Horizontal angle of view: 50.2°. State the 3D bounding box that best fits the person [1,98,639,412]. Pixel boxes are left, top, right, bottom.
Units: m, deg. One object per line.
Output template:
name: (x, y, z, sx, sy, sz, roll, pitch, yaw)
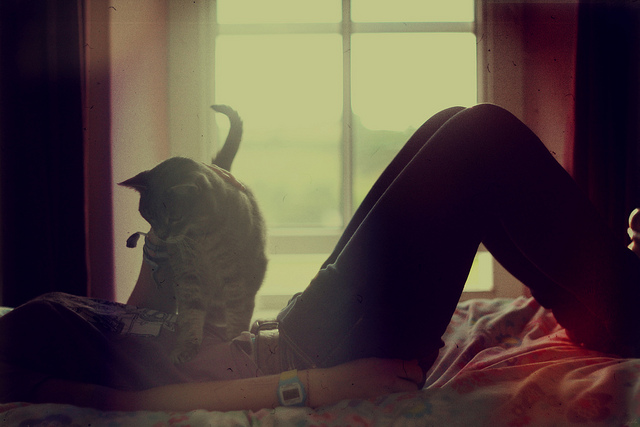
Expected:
person: (0.069, 0.123, 2.595, 2.202, 0.794, 0.964, -7, -2, 1)
